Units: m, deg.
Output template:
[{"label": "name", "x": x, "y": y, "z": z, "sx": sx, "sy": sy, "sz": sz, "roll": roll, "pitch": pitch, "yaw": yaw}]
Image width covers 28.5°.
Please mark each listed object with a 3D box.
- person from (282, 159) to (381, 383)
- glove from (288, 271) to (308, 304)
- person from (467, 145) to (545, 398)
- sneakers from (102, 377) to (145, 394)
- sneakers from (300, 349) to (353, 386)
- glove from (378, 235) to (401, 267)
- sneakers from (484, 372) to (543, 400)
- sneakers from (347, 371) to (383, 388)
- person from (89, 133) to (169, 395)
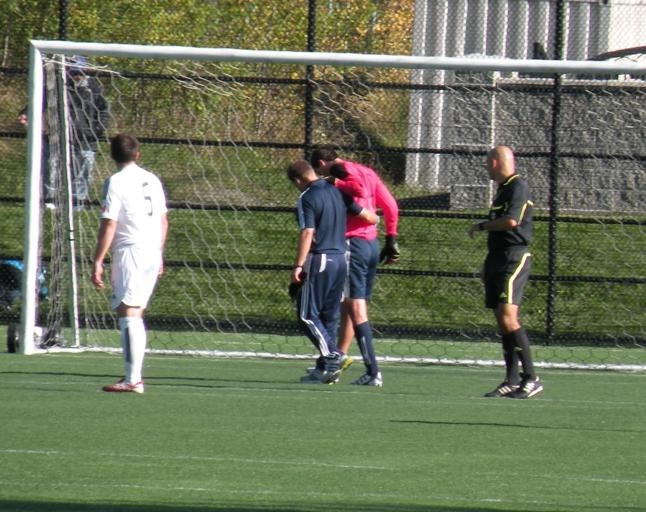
[{"label": "person", "x": -0.019, "y": 0.167, "z": 10.981, "sx": 0.578, "sy": 1.905, "sz": 0.541, "roll": 4, "pitch": 12, "yaw": 5}, {"label": "glove", "x": -0.252, "y": 0.303, "z": 10.921, "sx": 0.074, "sy": 0.156, "sz": 0.260, "roll": 28, "pitch": -33, "yaw": 1}, {"label": "person", "x": 1.549, "y": 0.132, "z": 10.737, "sx": 0.605, "sy": 2.087, "sz": 0.700, "roll": 1, "pitch": 12, "yaw": -7}, {"label": "sneakers", "x": -1.615, "y": 1.067, "z": 10.357, "sx": 0.353, "sy": 0.097, "sz": 0.116, "roll": 4, "pitch": -3, "yaw": -3}, {"label": "sneakers", "x": 0.061, "y": 0.978, "z": 11.008, "sx": 0.610, "sy": 0.232, "sz": 0.188, "roll": -12, "pitch": 24, "yaw": 28}, {"label": "glove", "x": 0.621, "y": -0.038, "z": 11.413, "sx": 0.107, "sy": 0.221, "sz": 0.200, "roll": 16, "pitch": -14, "yaw": -32}, {"label": "sneakers", "x": 1.514, "y": 1.120, "z": 10.654, "sx": 0.580, "sy": 0.173, "sz": 0.168, "roll": -1, "pitch": 0, "yaw": -3}, {"label": "sneakers", "x": 0.369, "y": 1.086, "z": 11.048, "sx": 0.332, "sy": 0.100, "sz": 0.099, "roll": 2, "pitch": 4, "yaw": 6}, {"label": "person", "x": -1.597, "y": 0.073, "z": 10.393, "sx": 0.533, "sy": 2.128, "sz": 0.620, "roll": 2, "pitch": 12, "yaw": -1}]
